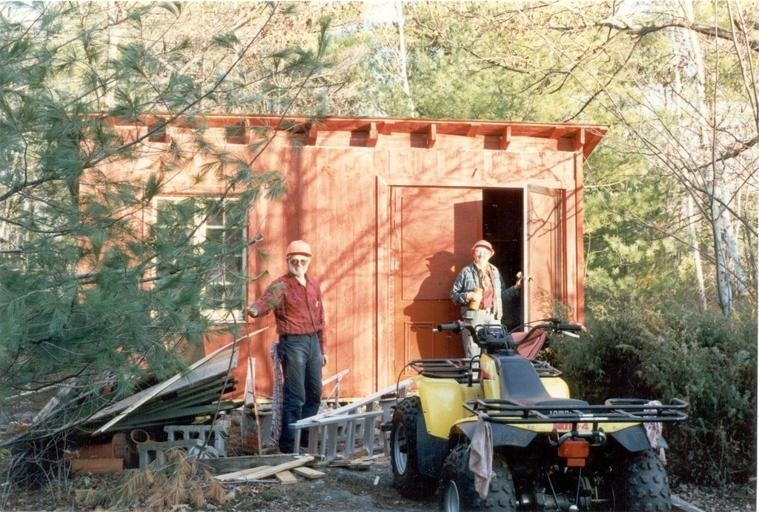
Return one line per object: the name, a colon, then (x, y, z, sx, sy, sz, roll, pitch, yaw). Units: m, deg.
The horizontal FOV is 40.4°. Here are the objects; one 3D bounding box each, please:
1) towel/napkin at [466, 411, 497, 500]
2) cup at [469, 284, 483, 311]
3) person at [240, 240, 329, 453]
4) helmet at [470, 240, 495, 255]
towel/napkin: (1.095, 2.150, 11.133, 0.264, 0.872, 0.223, 0, -9, 5)
cup: (1.470, 0.641, 15.804, 0.228, 0.416, 0.247, 12, -11, 2)
person: (-1.190, 1.227, 14.250, 0.491, 2.862, 1.484, -4, -11, 27)
helmet: (1.628, -0.140, 16.580, 0.281, 0.160, 0.402, 5, -8, 9)
